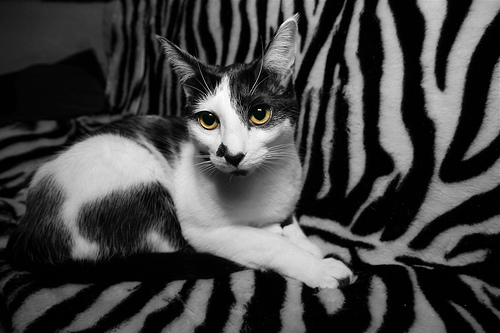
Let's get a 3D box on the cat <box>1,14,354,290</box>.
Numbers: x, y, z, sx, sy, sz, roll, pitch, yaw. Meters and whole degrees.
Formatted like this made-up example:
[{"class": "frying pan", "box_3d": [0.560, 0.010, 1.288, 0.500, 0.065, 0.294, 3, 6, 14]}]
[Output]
[{"class": "cat", "box_3d": [-0.340, -0.019, 2.058, 1.157, 0.909, 0.779, -1, -1, 45]}]
